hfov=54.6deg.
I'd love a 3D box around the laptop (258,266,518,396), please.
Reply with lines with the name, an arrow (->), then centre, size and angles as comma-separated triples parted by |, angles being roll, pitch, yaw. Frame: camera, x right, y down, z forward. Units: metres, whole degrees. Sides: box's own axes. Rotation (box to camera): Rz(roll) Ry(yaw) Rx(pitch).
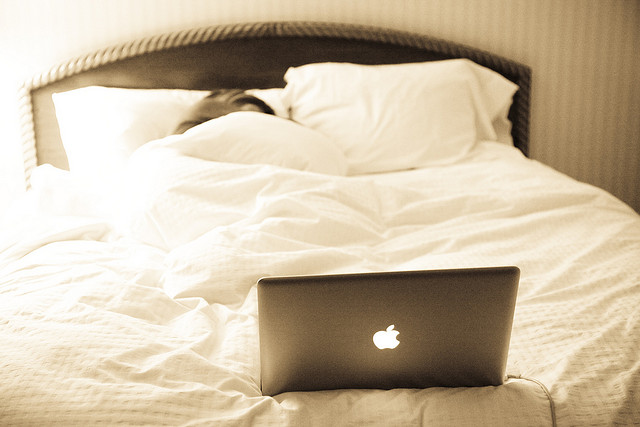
laptop -> 0.182, 0.309, 1.555 | 0.554, 0.346, 0.390 | 0, 10, -1
